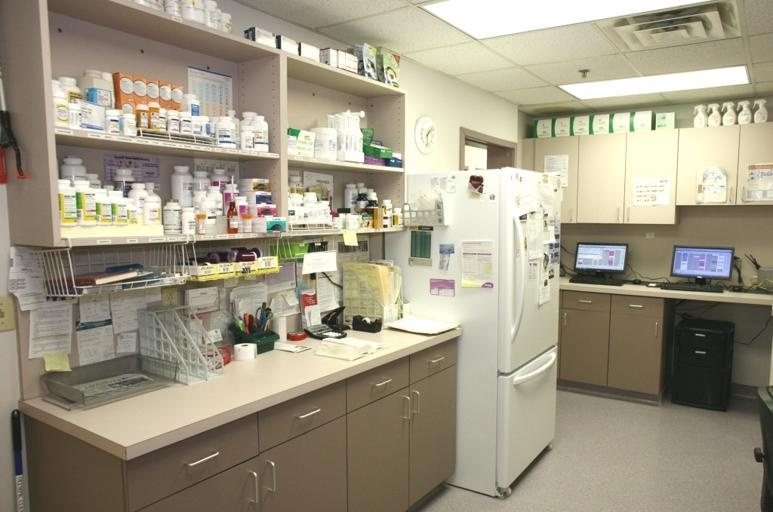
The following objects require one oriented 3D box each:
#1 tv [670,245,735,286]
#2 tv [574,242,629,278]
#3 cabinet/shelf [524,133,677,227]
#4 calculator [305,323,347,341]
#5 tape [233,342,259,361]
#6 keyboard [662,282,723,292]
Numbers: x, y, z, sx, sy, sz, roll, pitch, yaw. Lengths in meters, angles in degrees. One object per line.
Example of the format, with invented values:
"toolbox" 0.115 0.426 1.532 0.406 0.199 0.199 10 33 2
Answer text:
"tv" 3.134 0.095 5.325 0.409 0.271 0.120 1 -4 36
"tv" 2.311 0.042 5.776 0.397 0.261 0.113 2 -3 21
"cabinet/shelf" 2.193 -0.740 5.345 1.205 0.684 0.356 1 -1 29
"calculator" -0.409 0.504 3.560 0.274 0.066 0.261 -1 10 -4
"tape" -0.817 0.553 3.111 0.105 0.058 0.099 -2 6 -22
"keyboard" 2.928 0.303 5.173 0.505 0.049 0.327 2 11 13
